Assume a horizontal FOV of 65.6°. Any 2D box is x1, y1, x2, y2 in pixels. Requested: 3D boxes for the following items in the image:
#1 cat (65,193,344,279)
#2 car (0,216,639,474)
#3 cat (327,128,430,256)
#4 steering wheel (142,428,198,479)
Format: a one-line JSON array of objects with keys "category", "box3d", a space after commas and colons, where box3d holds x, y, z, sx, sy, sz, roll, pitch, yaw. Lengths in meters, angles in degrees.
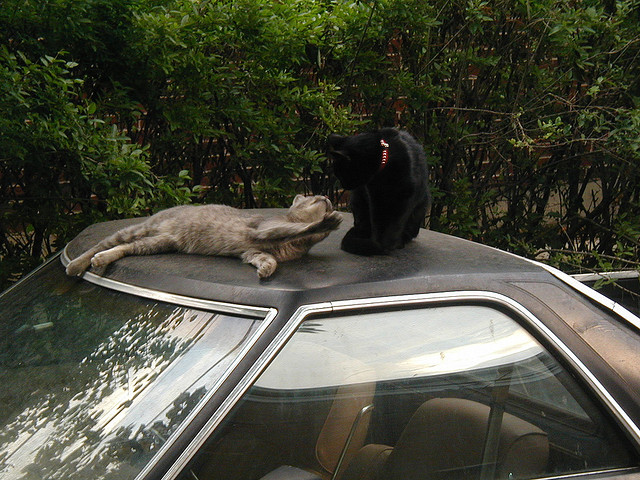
[{"category": "cat", "box3d": [-0.430, -0.041, 2.221, 1.092, 0.244, 0.721, 4, 21, 15]}, {"category": "car", "box3d": [0.106, 0.449, 1.864, 2.018, 0.810, 1.027, 9, 10, -26]}, {"category": "cat", "box3d": [0.379, -0.293, 2.615, 0.686, 0.567, 0.380, -13, 17, -36]}, {"category": "steering wheel", "box3d": [-0.473, 0.660, 1.541, 0.213, 0.107, 0.029, 13, 28, 35]}]
